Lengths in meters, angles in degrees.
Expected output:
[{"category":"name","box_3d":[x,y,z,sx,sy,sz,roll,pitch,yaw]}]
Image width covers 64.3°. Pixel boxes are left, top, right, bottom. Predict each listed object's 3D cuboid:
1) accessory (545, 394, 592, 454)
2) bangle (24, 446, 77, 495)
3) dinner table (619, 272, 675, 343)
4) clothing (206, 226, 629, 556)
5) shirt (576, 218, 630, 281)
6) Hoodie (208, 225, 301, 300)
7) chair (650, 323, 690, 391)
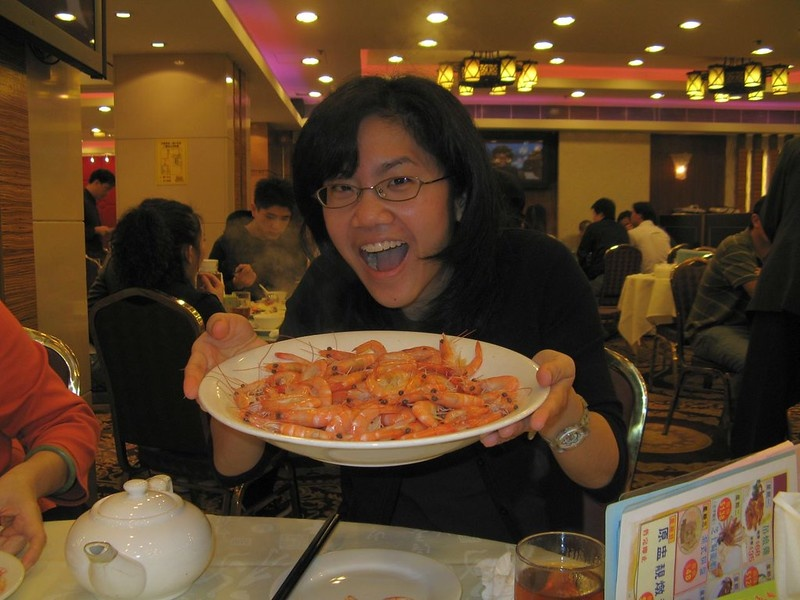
[{"category":"accessory","box_3d":[0.391,0.275,1.406,0.133,0.130,0.064,-9,16,-41]},{"category":"bangle","box_3d":[-0.820,0.406,1.504,0.102,0.114,0.075,-4,13,-22]},{"category":"dinner table","box_3d":[2.409,0.040,6.162,0.566,0.479,0.494,-3,7,14]},{"category":"clothing","box_3d":[0.177,0.334,2.040,0.925,1.146,0.890,-2,-19,0]},{"category":"shirt","box_3d":[2.832,-0.652,8.968,0.707,0.802,0.492,6,-2,-11]},{"category":"Hoodie","box_3d":[-1.111,-0.279,4.924,0.678,0.612,0.355,-3,3,-4]},{"category":"chair","box_3d":[2.149,0.348,5.187,0.319,0.458,0.299,8,12,18]}]
